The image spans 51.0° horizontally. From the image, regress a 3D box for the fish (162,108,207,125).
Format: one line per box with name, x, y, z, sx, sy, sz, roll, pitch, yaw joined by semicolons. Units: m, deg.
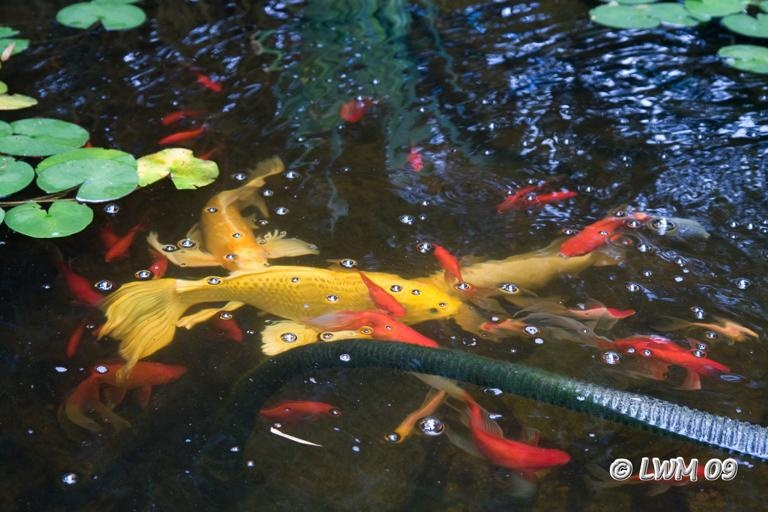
fish;-1.112;-0.758;4.365;0.216;0.008;0.095;-26;59;-19
